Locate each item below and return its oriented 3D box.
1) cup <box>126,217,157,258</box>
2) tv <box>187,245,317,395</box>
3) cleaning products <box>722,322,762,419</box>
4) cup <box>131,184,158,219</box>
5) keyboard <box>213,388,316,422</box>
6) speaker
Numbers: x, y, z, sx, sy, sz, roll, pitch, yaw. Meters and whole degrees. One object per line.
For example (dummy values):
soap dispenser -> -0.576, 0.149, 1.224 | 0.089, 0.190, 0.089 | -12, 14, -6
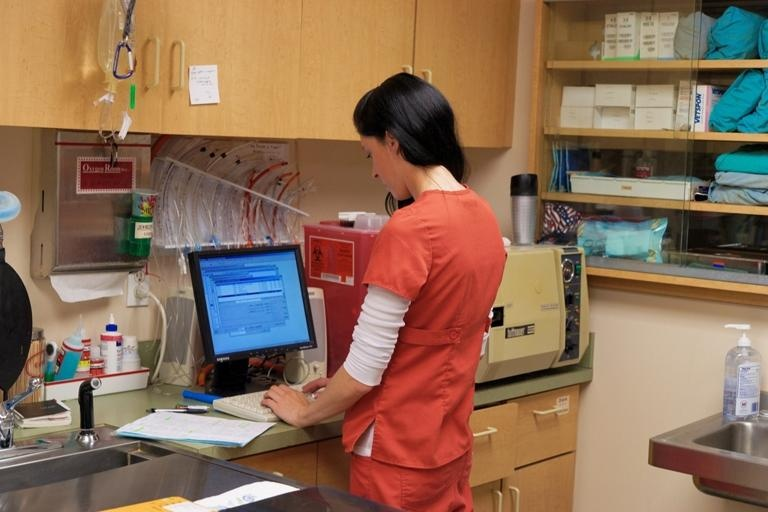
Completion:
cup -> -0.958, -0.072, 2.331 | 0.109, 0.170, 0.079 | 1, 6, 27
tv -> -0.555, 0.259, 2.399 | 0.495, 0.580, 0.314 | -3, 4, -45
cleaning products -> 1.533, 0.488, 2.535 | 0.143, 0.402, 0.171 | 1, 6, 31
cup -> -0.927, -0.204, 2.285 | 0.105, 0.092, 0.112 | 4, 1, 0
keyboard -> -0.462, 0.538, 2.169 | 0.207, 0.063, 0.269 | 10, 4, 18
speaker -> -0.335, 0.276, 2.449 | 0.096, 0.243, 0.100 | 2, 0, 39
